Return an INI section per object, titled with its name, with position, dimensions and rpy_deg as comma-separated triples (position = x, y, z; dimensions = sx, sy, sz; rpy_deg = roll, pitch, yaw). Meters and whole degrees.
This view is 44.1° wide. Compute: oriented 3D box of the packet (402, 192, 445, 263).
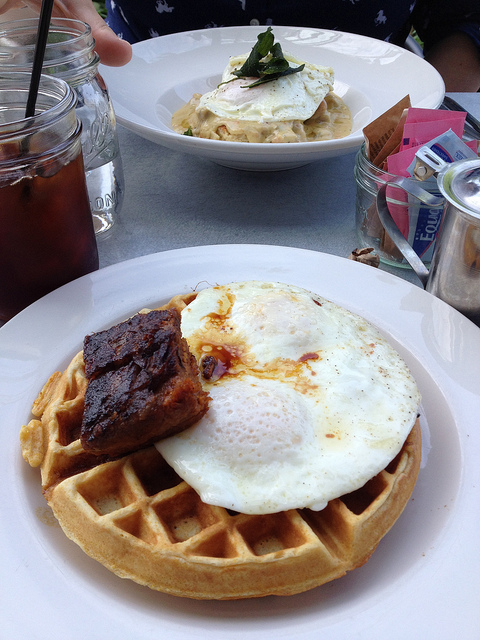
[packet]
position = 0.503, -0.251, 1.637
dimensions = 0.174, 0.161, 0.095
rpy_deg = 18, 45, 26

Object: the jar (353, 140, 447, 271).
[jar]
position = 0.524, -0.354, 1.745
dimensions = 0.358, 0.332, 0.316
rpy_deg = -10, 21, -1
